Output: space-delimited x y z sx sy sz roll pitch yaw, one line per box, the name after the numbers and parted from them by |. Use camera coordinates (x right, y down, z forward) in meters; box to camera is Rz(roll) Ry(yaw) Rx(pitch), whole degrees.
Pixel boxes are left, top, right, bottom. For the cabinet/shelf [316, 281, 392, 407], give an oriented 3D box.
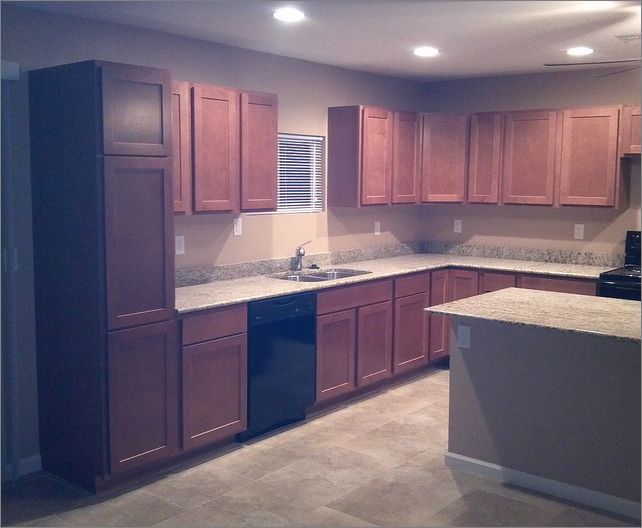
0.139 0.569 4.395 0.509 0.867 0.920 7 10 43 | cabinet/shelf

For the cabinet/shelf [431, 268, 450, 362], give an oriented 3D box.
1.119 0.482 5.013 0.075 0.848 0.297 5 8 44 | cabinet/shelf

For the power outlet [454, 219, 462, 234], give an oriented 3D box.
1.448 -0.400 5.639 0.119 0.173 0.017 11 17 43 | power outlet

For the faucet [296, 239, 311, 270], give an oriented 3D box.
-0.143 -0.073 4.529 0.089 0.238 0.271 0 6 9 | faucet

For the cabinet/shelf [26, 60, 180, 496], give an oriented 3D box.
-1.312 0.113 3.164 0.720 2.432 0.699 3 9 7 | cabinet/shelf

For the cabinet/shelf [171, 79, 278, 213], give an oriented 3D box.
-0.671 -0.767 3.713 0.843 0.814 0.310 1 13 13 | cabinet/shelf

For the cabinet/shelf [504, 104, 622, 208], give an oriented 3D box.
2.123 -0.896 4.826 0.959 0.896 0.314 3 -8 20 | cabinet/shelf

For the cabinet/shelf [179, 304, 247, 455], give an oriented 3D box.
-0.600 0.826 3.488 0.443 0.857 0.497 -15 -36 8 | cabinet/shelf

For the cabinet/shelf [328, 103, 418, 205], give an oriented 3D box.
0.541 -0.973 4.949 0.317 0.859 0.957 10 14 43 | cabinet/shelf

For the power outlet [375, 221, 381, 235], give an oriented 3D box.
0.558 -0.359 5.274 0.015 0.161 0.114 7 10 35 | power outlet
